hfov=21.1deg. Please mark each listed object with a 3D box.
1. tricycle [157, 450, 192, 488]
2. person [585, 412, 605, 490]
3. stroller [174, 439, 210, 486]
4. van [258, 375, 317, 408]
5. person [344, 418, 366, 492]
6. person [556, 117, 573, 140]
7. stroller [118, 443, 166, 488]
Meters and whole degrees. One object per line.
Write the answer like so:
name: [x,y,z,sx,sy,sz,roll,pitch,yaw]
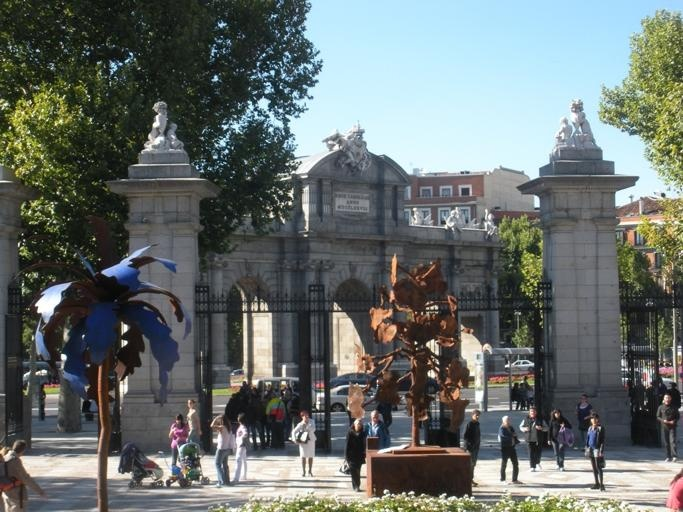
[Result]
tricycle: [-5.265,6.849,58.754,0.752,0.975,0.654,-4,13,-4]
person: [8.018,6.259,58.066,0.548,2.458,0.968,-2,-7,7]
stroller: [-4.879,6.754,59.225,1.255,1.850,1.297,0,-1,-9]
van: [-2.118,5.536,74.348,2.471,1.400,1.575,-1,-4,-3]
person: [0.487,6.395,58.288,0.632,2.325,0.786,-1,-7,1]
person: [7.675,-4.338,63.258,0.563,0.792,0.926,-2,-7,9]
stroller: [-6.352,6.758,58.568,1.328,1.421,0.636,0,-7,-14]
